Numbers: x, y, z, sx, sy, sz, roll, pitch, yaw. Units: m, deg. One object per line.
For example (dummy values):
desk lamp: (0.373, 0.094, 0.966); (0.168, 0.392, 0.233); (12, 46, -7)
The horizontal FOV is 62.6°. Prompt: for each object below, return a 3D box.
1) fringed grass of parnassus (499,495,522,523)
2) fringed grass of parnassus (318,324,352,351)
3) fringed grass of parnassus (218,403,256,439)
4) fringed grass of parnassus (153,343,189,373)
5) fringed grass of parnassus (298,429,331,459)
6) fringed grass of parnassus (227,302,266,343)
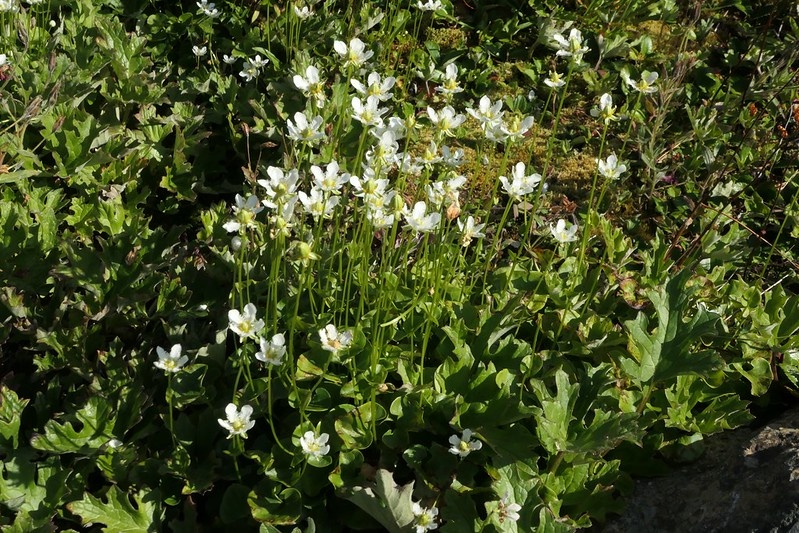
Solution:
fringed grass of parnassus: (0.423, 0.938, 2.531); (0.091, 0.050, 0.101); (15, 45, 9)
fringed grass of parnassus: (-0.258, 0.295, 2.650); (0.119, 0.156, 0.152); (0, 10, -6)
fringed grass of parnassus: (-0.600, 0.595, 2.488); (0.147, 0.074, 0.151); (25, 23, -19)
fringed grass of parnassus: (-0.906, 0.363, 2.590); (0.110, 0.130, 0.121); (-4, 12, -28)
fringed grass of parnassus: (-0.340, 0.709, 2.614); (0.121, 0.133, 0.069); (-8, -19, -12)
fringed grass of parnassus: (-0.595, 0.218, 2.558); (0.121, 0.177, 0.179); (-1, 11, -13)
